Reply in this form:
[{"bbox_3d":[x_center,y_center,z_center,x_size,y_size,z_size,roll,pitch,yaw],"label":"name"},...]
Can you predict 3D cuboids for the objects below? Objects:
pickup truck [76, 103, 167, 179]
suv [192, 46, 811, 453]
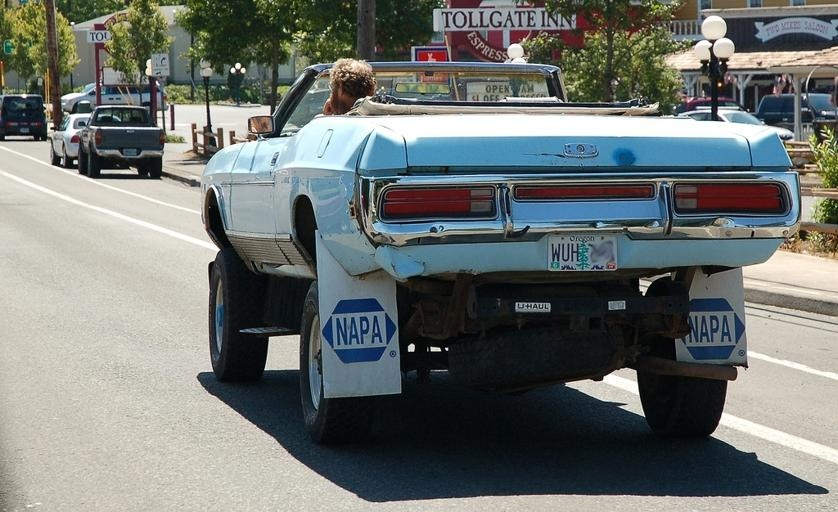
[{"bbox_3d":[-9.976,-3.849,33.879,2.469,2.396,3.225,-4,11,-23],"label":"pickup truck"},{"bbox_3d":[0.412,-0.034,8.311,4.830,3.145,2.567,6,11,31],"label":"suv"}]
